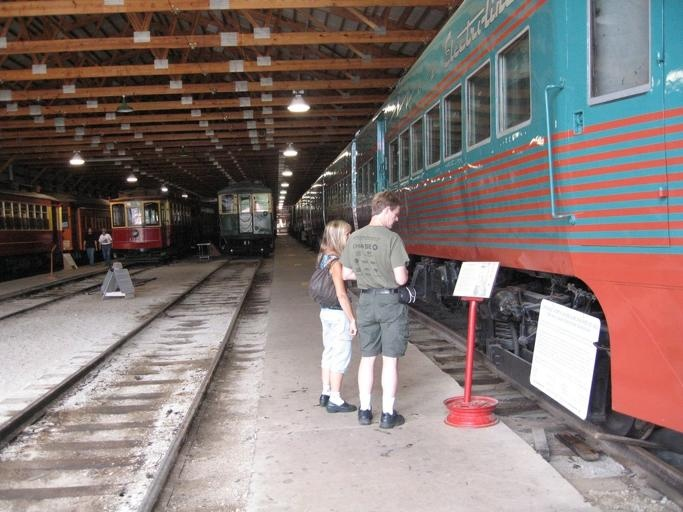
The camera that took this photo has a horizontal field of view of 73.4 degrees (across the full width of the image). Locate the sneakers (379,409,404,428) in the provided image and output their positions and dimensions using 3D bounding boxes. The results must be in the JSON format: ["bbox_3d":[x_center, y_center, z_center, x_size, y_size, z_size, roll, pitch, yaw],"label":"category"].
[{"bbox_3d":[0.465,1.444,4.108,0.098,0.108,0.271,2,3,45],"label":"sneakers"}]

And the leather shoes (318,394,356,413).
[{"bbox_3d":[-0.034,1.457,4.532,0.396,0.151,0.141,1,0,-2],"label":"leather shoes"}]
